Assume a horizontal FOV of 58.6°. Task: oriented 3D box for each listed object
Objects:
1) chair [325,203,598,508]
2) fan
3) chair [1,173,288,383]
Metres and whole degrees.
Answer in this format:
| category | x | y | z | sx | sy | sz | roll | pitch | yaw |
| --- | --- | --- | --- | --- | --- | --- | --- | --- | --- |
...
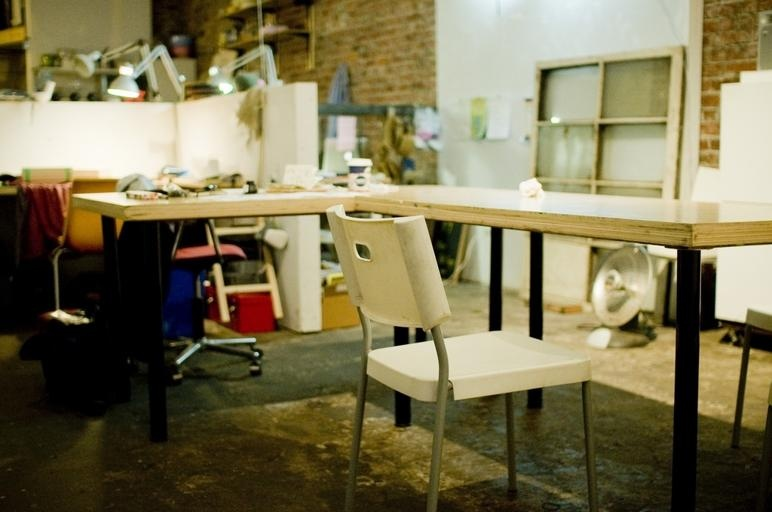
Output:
| category | x | y | z | sx | sy | sz | roll | pitch | yaw |
| --- | --- | --- | --- | --- | --- | --- | --- | --- | --- |
| chair | 0.285 | 0.454 | 2.790 | 0.880 | 1.334 | 0.573 | -5 | 9 | -20 |
| fan | 1.686 | 0.295 | 4.946 | 0.615 | 0.710 | 0.671 | 17 | -4 | 22 |
| chair | -1.519 | 0.089 | 4.859 | 1.560 | 1.573 | 1.528 | -2 | 3 | -30 |
